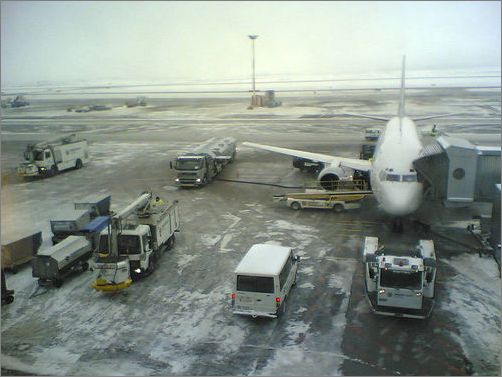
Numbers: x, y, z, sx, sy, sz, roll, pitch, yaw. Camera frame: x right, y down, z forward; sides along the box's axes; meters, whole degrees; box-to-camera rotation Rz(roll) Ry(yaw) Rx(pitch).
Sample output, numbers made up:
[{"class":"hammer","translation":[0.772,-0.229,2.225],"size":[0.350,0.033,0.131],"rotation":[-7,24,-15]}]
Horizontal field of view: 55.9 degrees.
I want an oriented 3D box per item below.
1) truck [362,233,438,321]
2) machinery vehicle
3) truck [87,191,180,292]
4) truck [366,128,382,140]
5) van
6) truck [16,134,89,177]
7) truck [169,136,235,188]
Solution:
[{"class":"truck","translation":[8.860,5.238,28.541],"size":[3.769,3.764,6.246],"rotation":[-1,15,15]},{"class":"machinery vehicle","translation":[6.287,0.668,42.710],"size":[8.709,2.345,2.309],"rotation":[0,8,4]},{"class":"truck","translation":[-8.032,3.102,34.118],"size":[4.634,4.537,10.978],"rotation":[6,13,2]},{"class":"truck","translation":[18.849,-8.208,73.838],"size":[2.656,1.706,3.722],"rotation":[0,14,9]},{"class":"van","translation":[0.931,5.342,28.537],"size":[3.770,2.461,5.595],"rotation":[2,17,12]},{"class":"truck","translation":[-23.295,-4.244,57.345],"size":[3.667,3.909,9.463],"rotation":[10,17,14]},{"class":"truck","translation":[-4.487,-3.386,55.664],"size":[5.632,3.749,14.472],"rotation":[-3,13,7]}]
